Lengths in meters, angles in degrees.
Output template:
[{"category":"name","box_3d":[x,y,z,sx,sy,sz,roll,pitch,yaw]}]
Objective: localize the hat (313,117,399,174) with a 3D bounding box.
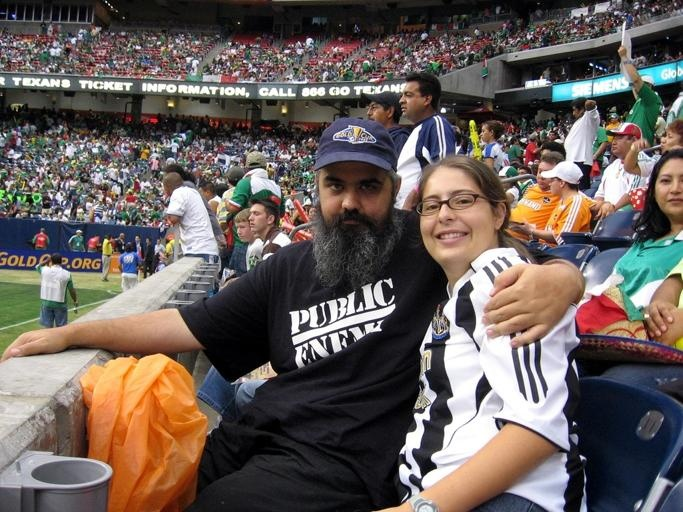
[{"category":"hat","box_3d":[0.065,-0.489,2.359,0.365,0.261,0.484,2,6,-8]}]

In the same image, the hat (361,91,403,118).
[{"category":"hat","box_3d":[0.413,-1.526,5.272,0.368,0.204,0.239,27,7,-19]}]

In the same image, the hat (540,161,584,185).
[{"category":"hat","box_3d":[2.165,-0.813,5.339,0.237,0.203,0.363,-14,37,-39]}]

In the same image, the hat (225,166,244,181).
[{"category":"hat","box_3d":[-1.673,-1.295,8.334,0.197,0.230,0.272,0,39,-4]}]

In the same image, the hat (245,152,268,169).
[{"category":"hat","box_3d":[-1.199,-1.347,7.514,0.213,0.174,0.306,-2,-3,-3]}]
